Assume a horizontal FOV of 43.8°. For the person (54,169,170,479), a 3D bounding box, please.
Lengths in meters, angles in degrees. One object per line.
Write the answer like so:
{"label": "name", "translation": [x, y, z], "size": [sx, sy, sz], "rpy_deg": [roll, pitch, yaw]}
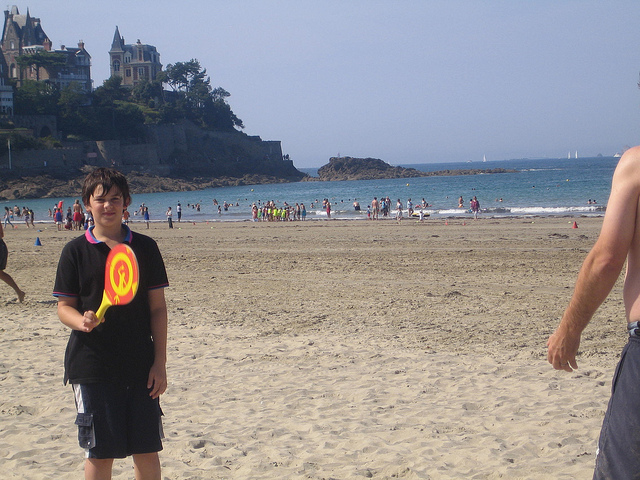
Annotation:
{"label": "person", "translation": [-1.723, 0.758, 6.627], "size": [0.885, 2.634, 0.778], "rpy_deg": [-2, 11, -3]}

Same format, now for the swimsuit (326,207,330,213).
{"label": "swimsuit", "translation": [0.369, -1.581, 41.148], "size": [0.174, 0.292, 0.192], "rpy_deg": [2, 0, -6]}

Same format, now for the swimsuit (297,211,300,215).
{"label": "swimsuit", "translation": [-1.114, -1.386, 39.414], "size": [0.106, 0.218, 0.339], "rpy_deg": [-2, 12, -6]}

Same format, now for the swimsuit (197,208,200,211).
{"label": "swimsuit", "translation": [-8.085, -2.044, 52.622], "size": [0.155, 0.088, 0.150], "rpy_deg": [5, 3, 31]}

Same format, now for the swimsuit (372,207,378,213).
{"label": "swimsuit", "translation": [2.684, -1.538, 39.422], "size": [0.218, 0.285, 0.425], "rpy_deg": [0, 12, 4]}

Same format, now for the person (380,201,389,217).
{"label": "person", "translation": [3.311, -1.583, 40.922], "size": [0.331, 0.741, 0.560], "rpy_deg": [-1, 11, 1]}

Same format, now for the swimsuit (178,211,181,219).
{"label": "swimsuit", "translation": [-7.114, -1.308, 39.714], "size": [0.207, 0.382, 0.261], "rpy_deg": [3, 0, 1]}

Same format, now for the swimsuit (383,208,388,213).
{"label": "swimsuit", "translation": [3.292, -1.569, 40.715], "size": [0.280, 0.265, 0.075], "rpy_deg": [0, 0, 4]}

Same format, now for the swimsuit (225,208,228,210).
{"label": "swimsuit", "translation": [-6.387, -2.144, 53.419], "size": [0.218, 0.220, 0.225], "rpy_deg": [2, -3, -24]}

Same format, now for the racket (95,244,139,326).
{"label": "racket", "translation": [-1.637, 0.352, 6.402], "size": [0.378, 0.635, 0.269], "rpy_deg": [-1, 11, -1]}

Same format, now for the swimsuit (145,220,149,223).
{"label": "swimsuit", "translation": [-8.545, -0.976, 39.050], "size": [0.166, 0.158, 0.160], "rpy_deg": [0, -5, 6]}

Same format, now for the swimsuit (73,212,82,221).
{"label": "swimsuit", "translation": [-9.733, -0.981, 31.779], "size": [0.416, 0.454, 0.257], "rpy_deg": [0, 0, -14]}
